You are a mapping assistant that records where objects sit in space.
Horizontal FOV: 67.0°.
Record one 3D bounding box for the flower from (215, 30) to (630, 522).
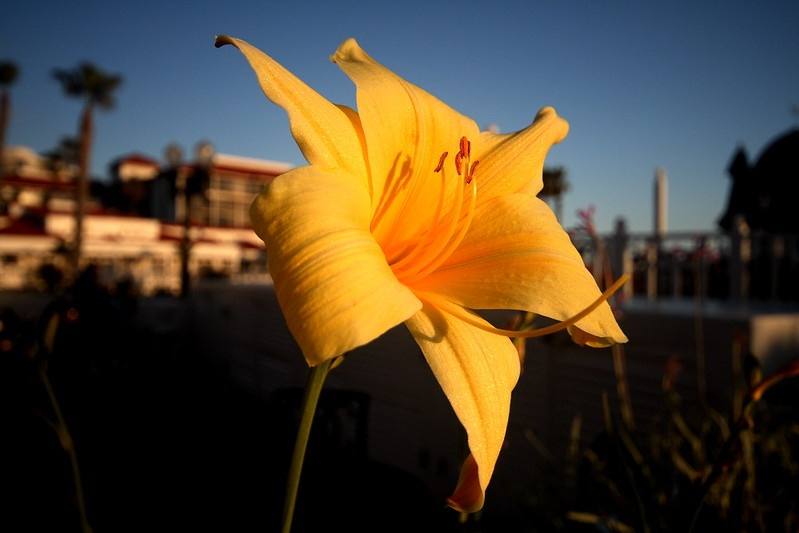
[{"bbox_3d":[0.052,0.019,1.142,0.777,0.955,0.430,2,3,-27],"label":"flower"}]
